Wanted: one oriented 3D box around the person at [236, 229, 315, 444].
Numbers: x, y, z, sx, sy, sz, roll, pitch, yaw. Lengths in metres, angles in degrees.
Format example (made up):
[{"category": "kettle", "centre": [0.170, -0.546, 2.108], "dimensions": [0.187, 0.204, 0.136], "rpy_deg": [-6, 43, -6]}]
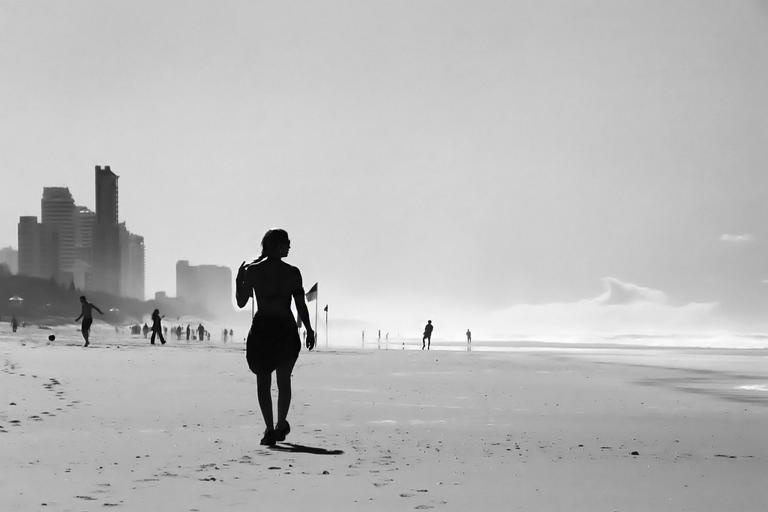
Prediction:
[{"category": "person", "centre": [-1.552, 1.132, 13.656], "dimensions": [0.989, 3.028, 0.889], "rpy_deg": [-7, -11, 45]}]
